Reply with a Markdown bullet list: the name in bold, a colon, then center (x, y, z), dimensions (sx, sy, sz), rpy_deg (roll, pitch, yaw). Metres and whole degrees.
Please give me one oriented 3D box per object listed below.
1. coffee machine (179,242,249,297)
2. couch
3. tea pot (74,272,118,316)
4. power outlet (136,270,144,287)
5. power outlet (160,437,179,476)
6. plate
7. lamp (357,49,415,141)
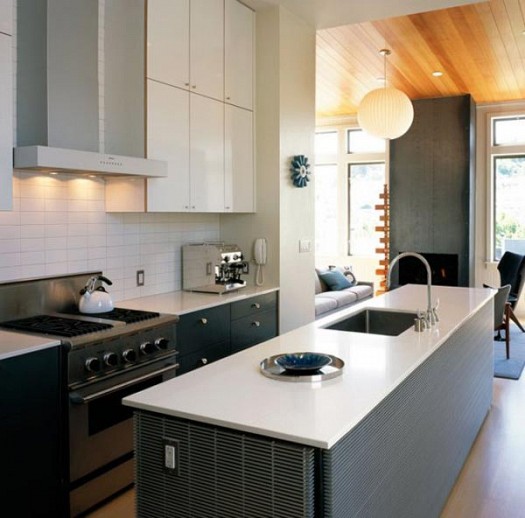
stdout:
- **coffee machine**: center (-0.393, 0.086, 4.041), dimensions (0.479, 0.444, 0.377), rpy_deg (3, 4, 24)
- **couch**: center (1.191, 0.485, 7.215), dimensions (0.450, 0.583, 1.505), rpy_deg (8, 7, 41)
- **tea pot**: center (-1.045, 0.216, 2.955), dimensions (0.164, 0.227, 0.251), rpy_deg (0, 9, 25)
- **power outlet**: center (-0.953, 0.150, 3.601), dimensions (0.012, 0.142, 0.120), rpy_deg (-1, 0, 21)
- **power outlet**: center (-0.266, 0.566, 1.331), dimensions (0.061, 0.103, 0.017), rpy_deg (2, 4, 35)
- **plate**: center (0.144, 0.391, 1.703), dimensions (0.318, 0.040, 0.252), rpy_deg (0, 4, 6)
- **lamp**: center (1.266, -1.676, 4.777), dimensions (0.547, 1.030, 0.600), rpy_deg (1, -2, -5)
